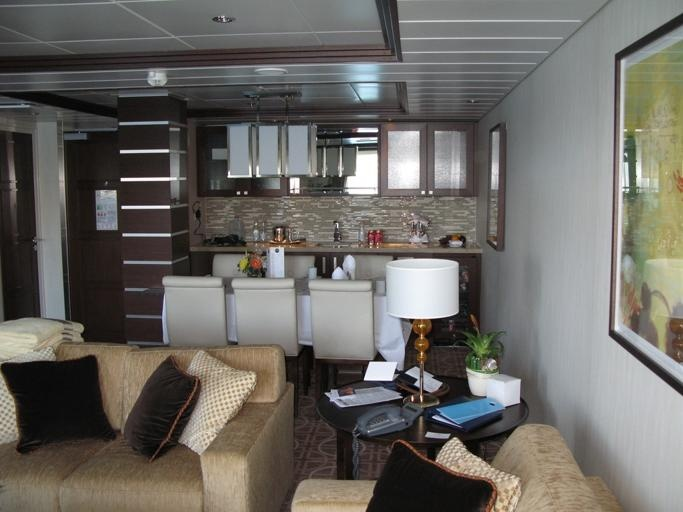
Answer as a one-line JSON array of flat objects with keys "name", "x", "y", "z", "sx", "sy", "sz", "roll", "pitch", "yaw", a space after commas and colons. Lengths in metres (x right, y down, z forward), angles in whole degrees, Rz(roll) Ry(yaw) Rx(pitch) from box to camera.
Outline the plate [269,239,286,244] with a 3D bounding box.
[{"name": "plate", "x": -0.835, "y": -0.182, "z": 6.878, "sx": 0.293, "sy": 0.050, "sz": 0.228, "roll": 1, "pitch": 6, "yaw": 14}]

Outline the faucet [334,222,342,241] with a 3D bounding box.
[{"name": "faucet", "x": -0.055, "y": -0.326, "z": 7.061, "sx": 0.102, "sy": 0.272, "sz": 0.139, "roll": -1, "pitch": 6, "yaw": -1}]

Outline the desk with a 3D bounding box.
[{"name": "desk", "x": 0.429, "y": 0.924, "z": 2.772, "sx": 0.704, "sy": 0.520, "sz": 0.707, "roll": -1, "pitch": 8, "yaw": 0}]

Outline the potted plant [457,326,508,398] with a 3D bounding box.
[{"name": "potted plant", "x": 0.873, "y": 0.640, "z": 3.174, "sx": 0.260, "sy": 0.466, "sz": 0.334, "roll": -7, "pitch": -8, "yaw": 32}]

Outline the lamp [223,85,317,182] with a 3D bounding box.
[{"name": "lamp", "x": -0.600, "y": -0.894, "z": 4.372, "sx": 0.732, "sy": 0.436, "sz": 0.114, "roll": 0, "pitch": 6, "yaw": 8}]

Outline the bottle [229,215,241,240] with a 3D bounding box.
[{"name": "bottle", "x": -1.401, "y": -0.373, "z": 6.903, "sx": 0.165, "sy": 0.313, "sz": 0.557, "roll": -2, "pitch": 6, "yaw": -12}]

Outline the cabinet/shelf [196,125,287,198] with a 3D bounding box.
[{"name": "cabinet/shelf", "x": -1.186, "y": -1.402, "z": 6.914, "sx": 0.811, "sy": 0.684, "sz": 0.317, "roll": -8, "pitch": 21, "yaw": -30}]

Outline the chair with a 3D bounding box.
[{"name": "chair", "x": -0.692, "y": 0.550, "z": 4.862, "sx": 1.682, "sy": 0.711, "sz": 1.194, "roll": 1, "pitch": 7, "yaw": 8}]

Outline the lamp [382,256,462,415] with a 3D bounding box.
[{"name": "lamp", "x": 0.461, "y": 0.458, "z": 3.018, "sx": 0.443, "sy": 0.774, "sz": 0.450, "roll": -2, "pitch": -3, "yaw": 32}]

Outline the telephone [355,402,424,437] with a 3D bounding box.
[{"name": "telephone", "x": 0.249, "y": 0.874, "z": 2.763, "sx": 0.277, "sy": 0.081, "sz": 0.149, "roll": -5, "pitch": 1, "yaw": -30}]

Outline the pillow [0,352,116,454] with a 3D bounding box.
[{"name": "pillow", "x": -1.726, "y": 0.907, "z": 3.124, "sx": 0.576, "sy": 0.542, "sz": 0.149, "roll": -3, "pitch": -21, "yaw": -29}]

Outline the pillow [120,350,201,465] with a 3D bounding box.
[{"name": "pillow", "x": -1.096, "y": 0.892, "z": 3.114, "sx": 0.289, "sy": 0.442, "sz": 0.490, "roll": 1, "pitch": 7, "yaw": -41}]

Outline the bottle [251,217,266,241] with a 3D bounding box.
[{"name": "bottle", "x": -1.119, "y": -0.354, "z": 7.020, "sx": 0.188, "sy": 0.316, "sz": 0.330, "roll": -2, "pitch": 6, "yaw": -10}]

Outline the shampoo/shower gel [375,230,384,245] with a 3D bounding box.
[{"name": "shampoo/shower gel", "x": 0.504, "y": -0.243, "z": 6.967, "sx": 0.105, "sy": 0.203, "sz": 0.250, "roll": 0, "pitch": 6, "yaw": 6}]

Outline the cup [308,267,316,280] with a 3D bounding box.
[{"name": "cup", "x": -0.302, "y": 0.187, "z": 5.353, "sx": 0.104, "sy": 0.119, "sz": 0.105, "roll": 2, "pitch": 8, "yaw": 0}]
